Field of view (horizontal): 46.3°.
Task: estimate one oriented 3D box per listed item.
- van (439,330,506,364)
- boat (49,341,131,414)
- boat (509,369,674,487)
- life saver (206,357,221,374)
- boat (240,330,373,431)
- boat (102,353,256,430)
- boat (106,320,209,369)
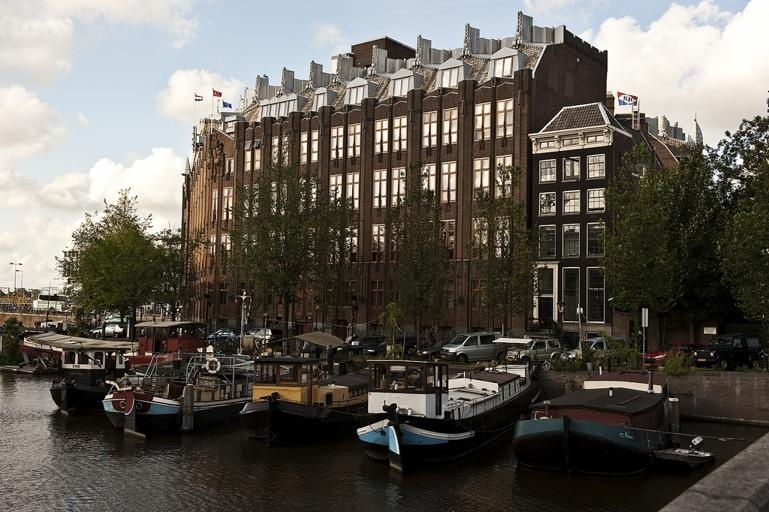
[{"bbox_3d":[7.250,7.665,74.788,4.395,2.236,2.430,3,-6,-24],"label":"van"},{"bbox_3d":[-22.042,8.959,68.378,3.758,3.552,6.638,0,-6,5],"label":"boat"},{"bbox_3d":[12.748,10.041,53.720,9.777,5.624,5.475,4,-9,-36],"label":"boat"},{"bbox_3d":[-12.501,8.005,65.447,1.141,1.236,0.363,1,-2,19],"label":"life saver"},{"bbox_3d":[-5.639,8.897,60.225,6.532,6.220,6.537,-3,-6,41],"label":"boat"},{"bbox_3d":[-15.169,9.950,63.774,8.984,5.364,10.580,-1,-5,17],"label":"boat"},{"bbox_3d":[-17.970,7.134,73.457,5.731,2.877,3.386,0,-2,25],"label":"boat"}]
